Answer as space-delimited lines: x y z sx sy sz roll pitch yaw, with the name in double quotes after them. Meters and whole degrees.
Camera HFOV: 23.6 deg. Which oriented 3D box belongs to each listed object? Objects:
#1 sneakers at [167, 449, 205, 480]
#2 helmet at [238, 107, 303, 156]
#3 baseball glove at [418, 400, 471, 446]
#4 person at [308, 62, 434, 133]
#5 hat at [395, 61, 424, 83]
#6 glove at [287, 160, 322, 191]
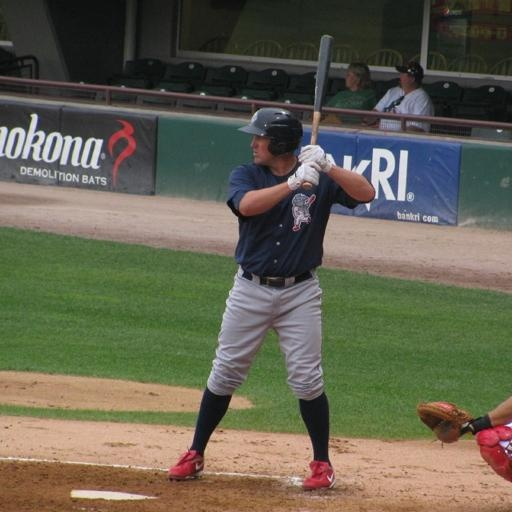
-0.519 1.575 9.158 0.135 0.156 0.362 10 7 41 "sneakers"
0.105 -0.927 9.109 0.463 0.308 0.328 0 3 -2 "helmet"
1.364 1.205 8.905 0.386 0.177 0.253 25 -44 -35 "baseball glove"
1.657 -2.098 15.851 1.235 1.128 0.829 1 16 -9 "person"
1.982 -2.362 15.635 0.361 0.178 0.224 29 21 0 "hat"
0.351 -0.580 8.799 0.153 0.101 0.260 15 21 37 "glove"
